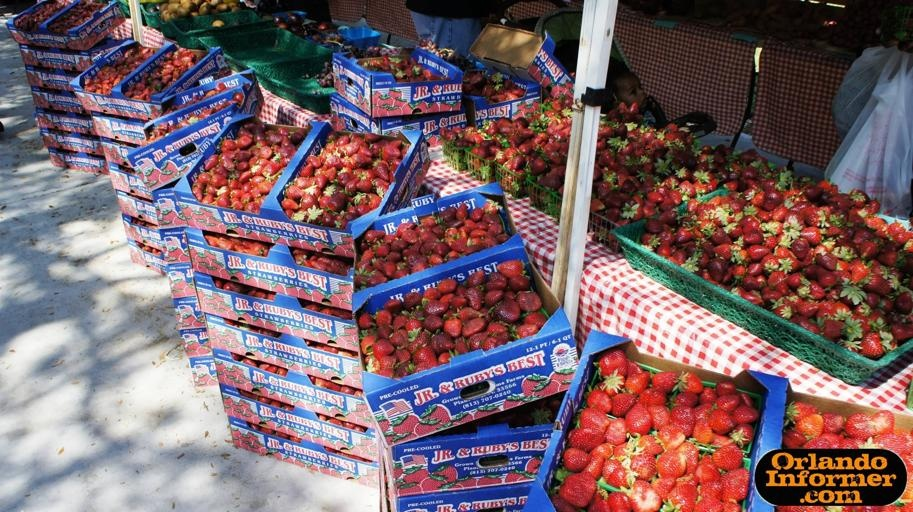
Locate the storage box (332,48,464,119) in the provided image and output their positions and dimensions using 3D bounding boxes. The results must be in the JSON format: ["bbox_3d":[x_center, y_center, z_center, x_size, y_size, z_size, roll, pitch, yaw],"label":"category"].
[{"bbox_3d":[-0.625,-1.753,6.770,0.979,0.371,0.884,-15,41,-27],"label":"storage box"}]

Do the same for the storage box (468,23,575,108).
[{"bbox_3d":[0.711,-2.111,7.180,1.227,0.480,0.618,22,86,28],"label":"storage box"}]

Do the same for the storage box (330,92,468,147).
[{"bbox_3d":[-0.701,-1.460,6.914,0.921,0.231,0.814,-16,41,-22],"label":"storage box"}]

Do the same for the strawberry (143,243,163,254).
[{"bbox_3d":[-3.480,-0.078,7.656,0.142,0.042,0.146,22,17,25],"label":"strawberry"}]

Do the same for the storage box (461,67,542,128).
[{"bbox_3d":[0.412,-1.656,6.919,0.736,0.296,0.674,-20,52,-15],"label":"storage box"}]

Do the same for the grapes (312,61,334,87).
[{"bbox_3d":[-1.497,-2.067,7.643,0.183,0.191,0.462,21,18,-14],"label":"grapes"}]
